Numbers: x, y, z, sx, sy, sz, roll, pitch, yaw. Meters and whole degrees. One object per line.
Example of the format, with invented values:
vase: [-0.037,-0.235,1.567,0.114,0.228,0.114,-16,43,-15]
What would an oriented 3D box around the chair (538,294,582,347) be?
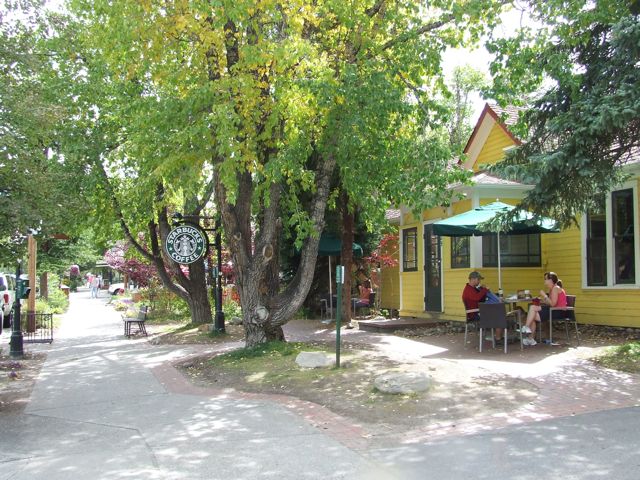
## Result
chair: [5.701,1.851,13.178,0.854,1.158,0.810,-2,5,-16]

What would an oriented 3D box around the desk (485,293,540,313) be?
desk: [4.704,1.529,13.379,0.666,0.408,0.691,0,-5,0]

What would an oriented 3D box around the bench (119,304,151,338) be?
bench: [-6.313,2.800,18.767,0.657,1.174,1.736,0,-3,-26]

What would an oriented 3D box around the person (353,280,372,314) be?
person: [1.545,2.192,20.612,0.777,1.467,0.559,5,8,-6]

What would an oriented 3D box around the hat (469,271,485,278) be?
hat: [4.139,0.897,14.407,0.293,0.172,0.209,-2,3,-13]
